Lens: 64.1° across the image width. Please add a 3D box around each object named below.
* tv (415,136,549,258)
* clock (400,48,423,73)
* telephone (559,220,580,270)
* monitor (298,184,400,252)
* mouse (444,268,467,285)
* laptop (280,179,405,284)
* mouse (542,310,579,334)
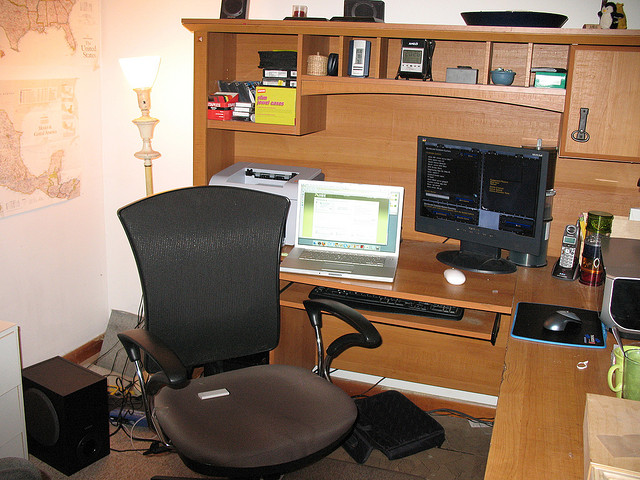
[{"bbox_3d":[0.801,-0.216,2.477,0.570,0.486,0.147,11,23,27],"label":"tv"},{"bbox_3d":[0.456,-0.887,2.514,0.119,0.113,0.015,8,19,22],"label":"clock"},{"bbox_3d":[1.206,0.026,2.462,0.067,0.212,0.135,9,17,25],"label":"telephone"},{"bbox_3d":[0.152,-0.110,2.711,0.510,0.337,0.215,3,15,4],"label":"monitor"},{"bbox_3d":[0.624,0.156,2.352,0.078,0.020,0.074,4,41,9],"label":"mouse"},{"bbox_3d":[0.115,-0.055,2.467,0.571,0.324,0.438,4,22,8],"label":"laptop"},{"bbox_3d":[0.920,0.312,1.944,0.131,0.067,0.054,-4,16,-18],"label":"mouse"}]
